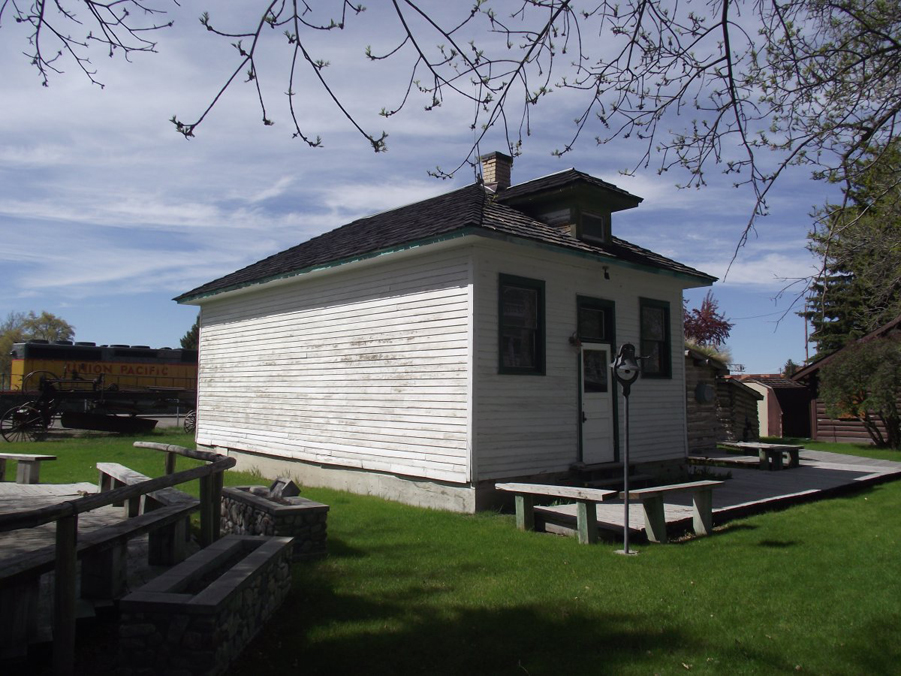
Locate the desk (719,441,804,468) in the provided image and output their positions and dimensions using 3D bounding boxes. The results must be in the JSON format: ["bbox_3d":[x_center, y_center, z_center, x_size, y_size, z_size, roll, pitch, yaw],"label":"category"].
[{"bbox_3d":[7.779,2.916,19.174,1.156,0.570,1.347,5,-9,-31],"label":"desk"}]
